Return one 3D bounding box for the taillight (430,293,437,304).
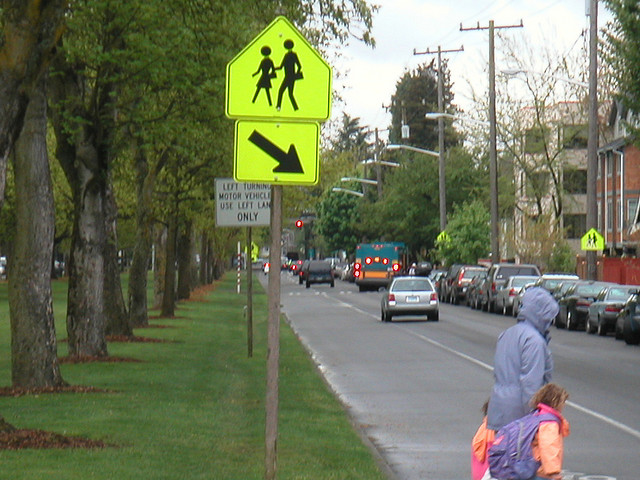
[{"bbox_3d":[3.755,1.959,39.315,0.150,0.357,0.328,-2,-5,37],"label":"taillight"}]

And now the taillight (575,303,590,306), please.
[{"bbox_3d":[7.965,1.972,35.969,0.180,0.081,0.604,3,-5,-28],"label":"taillight"}]

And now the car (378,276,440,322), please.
[{"bbox_3d":[3.007,1.979,39.572,1.822,1.466,0.976,1,-3,0],"label":"car"}]

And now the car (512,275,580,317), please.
[{"bbox_3d":[5.562,1.338,28.627,1.136,1.126,2.841,0,0,1],"label":"car"}]

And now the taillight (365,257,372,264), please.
[{"bbox_3d":[2.831,1.268,69.598,0.282,0.368,0.074,-2,5,1],"label":"taillight"}]

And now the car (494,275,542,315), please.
[{"bbox_3d":[5.455,1.538,33.190,1.138,1.266,3.062,0,0,1],"label":"car"}]

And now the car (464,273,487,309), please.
[{"bbox_3d":[6.582,2.214,50.237,1.075,1.328,2.224,-1,2,1],"label":"car"}]

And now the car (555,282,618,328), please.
[{"bbox_3d":[7.867,1.941,34.922,1.125,1.119,3.005,-1,0,1],"label":"car"}]

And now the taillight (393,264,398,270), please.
[{"bbox_3d":[4.415,1.664,69.468,0.240,0.309,0.062,2,3,-18],"label":"taillight"}]

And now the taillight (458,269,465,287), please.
[{"bbox_3d":[6.392,1.766,53.884,0.240,0.679,0.356,0,-8,0],"label":"taillight"}]

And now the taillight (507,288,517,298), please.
[{"bbox_3d":[6.977,1.969,43.256,0.251,0.071,0.254,-29,31,-35],"label":"taillight"}]
